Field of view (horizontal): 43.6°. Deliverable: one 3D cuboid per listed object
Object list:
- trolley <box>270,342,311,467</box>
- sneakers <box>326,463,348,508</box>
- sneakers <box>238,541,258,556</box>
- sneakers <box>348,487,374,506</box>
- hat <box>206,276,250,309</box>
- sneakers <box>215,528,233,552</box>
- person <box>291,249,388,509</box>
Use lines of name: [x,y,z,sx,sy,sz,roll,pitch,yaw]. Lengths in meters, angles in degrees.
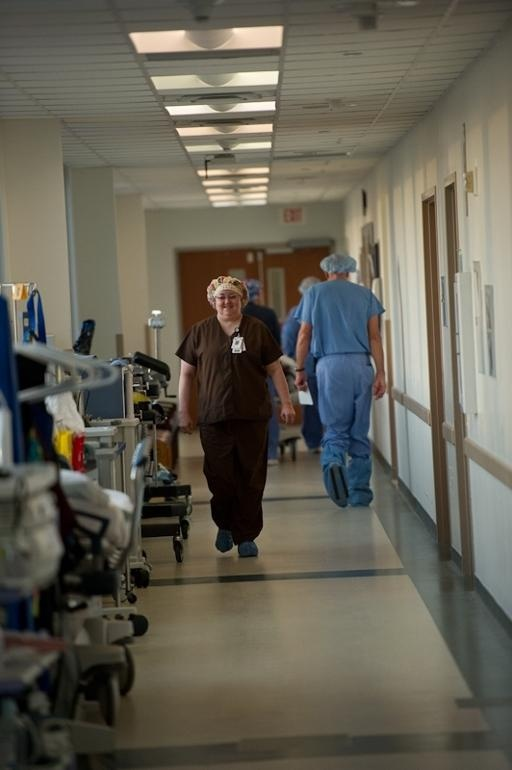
trolley: [0.420,0.269,8.514,0.524,0.891,0.988,8,-38,-5]
sneakers: [0.665,0.810,5.274,0.127,0.422,0.166,-4,16,7]
sneakers: [-0.054,1.097,4.260,0.113,0.103,0.112,6,-5,-3]
sneakers: [0.916,0.984,5.681,0.170,0.173,0.133,-1,-2,2]
hat: [-0.183,-0.573,4.200,0.209,0.121,0.236,3,24,8]
sneakers: [-0.214,1.040,4.295,0.125,0.208,0.055,-1,-4,-5]
person: [0.723,-0.032,5.421,0.749,2.112,0.557,-2,0,-3]
